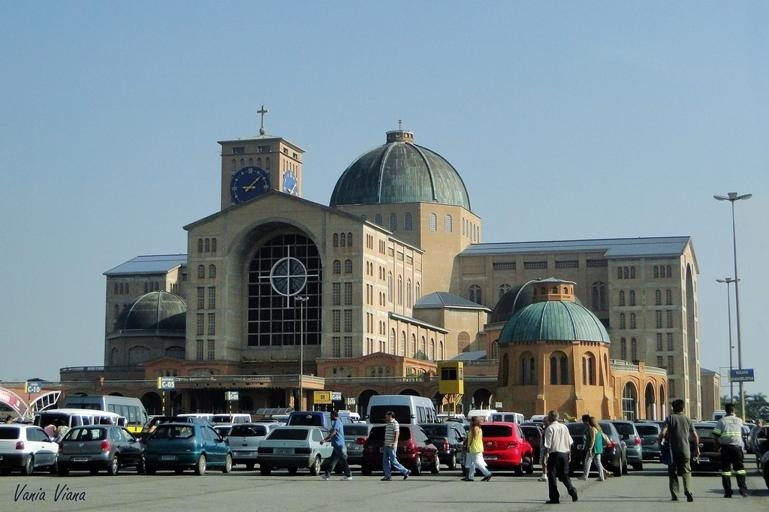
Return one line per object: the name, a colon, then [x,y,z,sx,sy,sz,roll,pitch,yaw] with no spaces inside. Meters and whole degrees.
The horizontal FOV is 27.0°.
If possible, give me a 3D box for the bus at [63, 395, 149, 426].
bus: [-18.072,9.913,106.099,2.668,2.342,4.704,-4,-5,38]
